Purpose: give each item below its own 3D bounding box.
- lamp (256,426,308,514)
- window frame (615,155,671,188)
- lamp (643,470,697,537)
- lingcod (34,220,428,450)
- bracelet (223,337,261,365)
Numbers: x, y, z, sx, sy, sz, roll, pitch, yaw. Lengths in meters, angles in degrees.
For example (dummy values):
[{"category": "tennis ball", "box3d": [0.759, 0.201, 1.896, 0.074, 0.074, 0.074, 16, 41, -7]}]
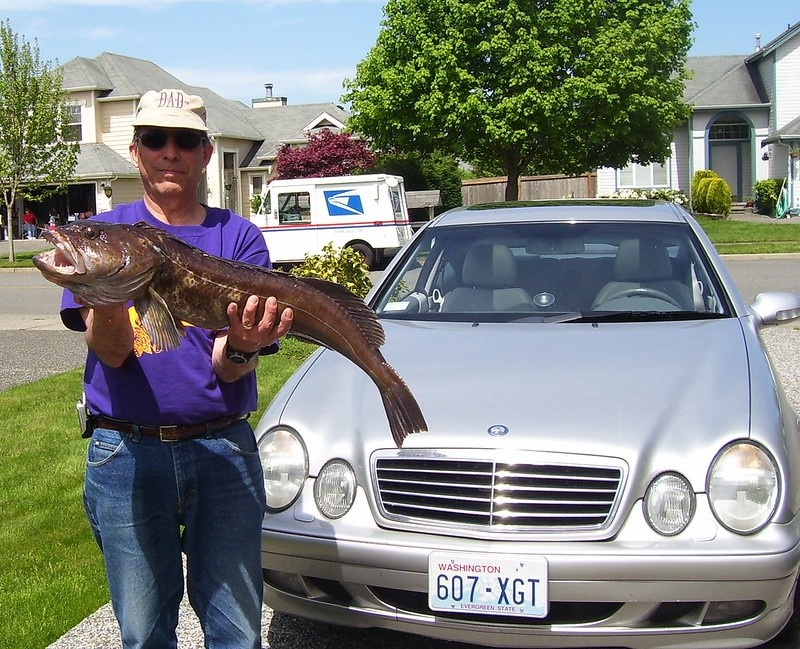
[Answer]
[{"category": "lamp", "box3d": [-0.427, 0.526, 2.891, 0.233, 0.266, 0.062, 12, -9, 24]}, {"category": "window frame", "box3d": [9.789, -6.276, 31.731, 1.480, 1.056, 0.069, 0, -7, -2]}, {"category": "lamp", "box3d": [0.880, 0.590, 2.570, 0.146, 0.177, 0.037, 3, -7, 1]}, {"category": "lingcod", "box3d": [-0.432, -0.033, 2.014, 0.950, 0.335, 0.246, 17, -4, -2]}, {"category": "bracelet", "box3d": [-0.435, 0.073, 2.126, 0.065, 0.031, 0.076, 7, -19, 8]}]
